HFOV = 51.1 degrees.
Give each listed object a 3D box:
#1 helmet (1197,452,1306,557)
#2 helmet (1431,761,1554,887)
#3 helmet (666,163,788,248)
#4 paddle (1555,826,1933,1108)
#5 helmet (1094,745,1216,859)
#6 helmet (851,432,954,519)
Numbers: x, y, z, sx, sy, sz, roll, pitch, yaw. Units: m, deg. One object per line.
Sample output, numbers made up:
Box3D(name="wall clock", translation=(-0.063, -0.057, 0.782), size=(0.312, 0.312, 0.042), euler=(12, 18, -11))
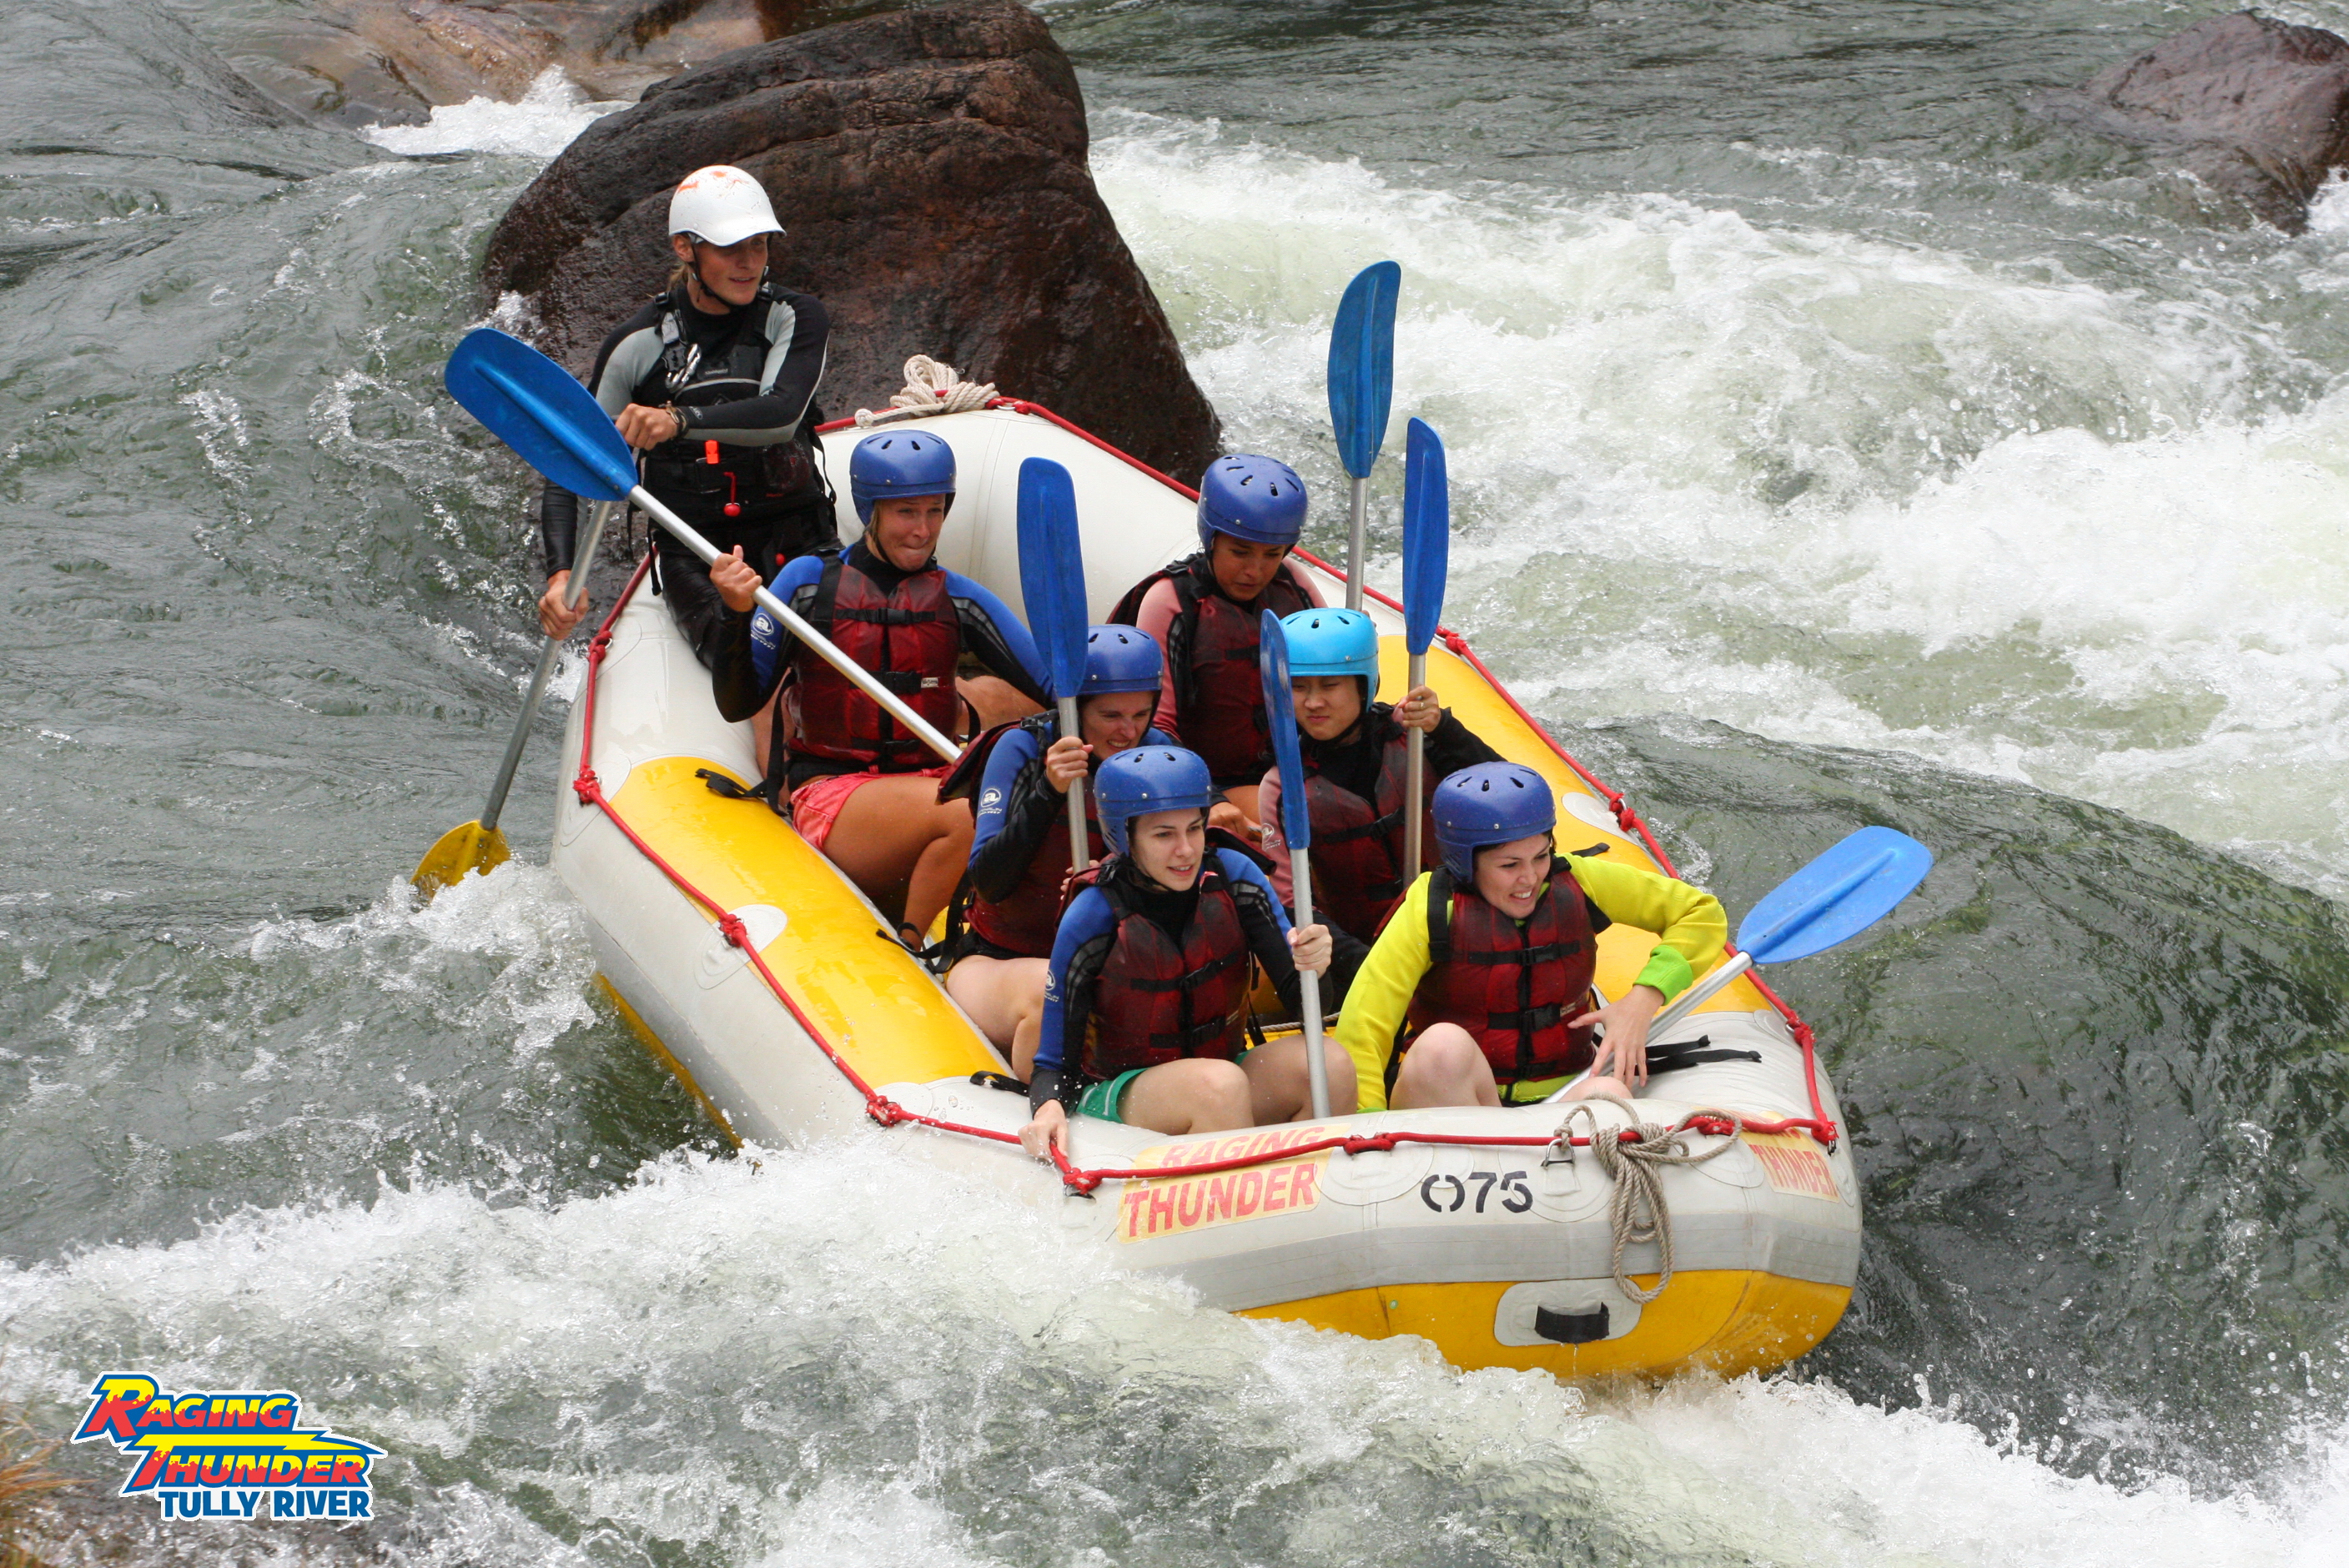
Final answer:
Box3D(name="helmet", translation=(0.244, -0.833, 7.607), size=(0.265, 0.245, 0.319), euler=(0, 42, -13))
Box3D(name="helmet", translation=(0.877, 0.108, 6.812), size=(0.384, 0.277, 0.301), euler=(-1, 14, 32))
Box3D(name="helmet", translation=(-1.503, -1.920, 8.151), size=(0.268, 0.172, 0.355), euler=(-10, 9, -36))
Box3D(name="paddle", translation=(1.613, 0.542, 7.339), size=(0.113, 1.542, 0.358), euler=(39, 40, -18))
Box3D(name="helmet", translation=(-0.080, 0.031, 6.759), size=(0.248, 0.221, 0.306), euler=(-5, 8, -45))
Box3D(name="helmet", translation=(-0.865, -0.981, 7.780), size=(0.248, 0.205, 0.286), euler=(-1, 3, -28))
